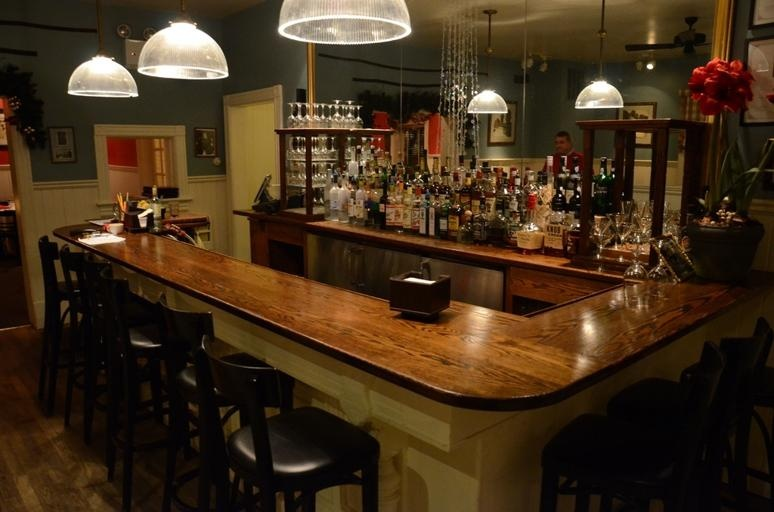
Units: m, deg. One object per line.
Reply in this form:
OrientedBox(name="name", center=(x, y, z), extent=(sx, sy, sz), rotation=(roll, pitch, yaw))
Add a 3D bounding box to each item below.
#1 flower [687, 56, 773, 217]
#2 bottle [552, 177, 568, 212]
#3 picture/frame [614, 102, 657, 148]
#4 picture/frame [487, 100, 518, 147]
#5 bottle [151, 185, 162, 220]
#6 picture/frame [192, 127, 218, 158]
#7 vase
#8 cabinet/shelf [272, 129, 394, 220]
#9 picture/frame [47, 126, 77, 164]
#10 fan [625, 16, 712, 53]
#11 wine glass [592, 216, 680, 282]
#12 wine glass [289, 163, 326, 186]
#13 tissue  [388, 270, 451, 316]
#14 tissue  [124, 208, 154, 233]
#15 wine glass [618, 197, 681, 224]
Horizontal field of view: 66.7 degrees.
OrientedBox(name="flower", center=(2.128, -0.731, 3.654), extent=(0.470, 0.944, 0.528), rotation=(4, 12, 28))
OrientedBox(name="bottle", center=(1.203, -0.432, 4.096), extent=(0.105, 0.226, 0.129), rotation=(1, 11, 14))
OrientedBox(name="picture/frame", center=(1.656, -0.859, 3.882), extent=(0.017, 0.425, 0.335), rotation=(-1, 6, -42))
OrientedBox(name="picture/frame", center=(0.941, -1.066, 4.698), extent=(0.044, 0.489, 0.325), rotation=(-3, 7, -43))
OrientedBox(name="bottle", center=(-2.084, -0.484, 5.317), extent=(0.087, 0.291, 0.280), rotation=(-6, 12, -21))
OrientedBox(name="picture/frame", center=(-2.389, -1.508, 7.699), extent=(0.045, 0.450, 0.351), rotation=(9, 14, 42))
OrientedBox(name="vase", center=(1.997, -0.033, 3.479), extent=(0.364, 0.301, 0.382), rotation=(2, 7, 28))
OrientedBox(name="cabinet/shelf", center=(-0.472, -0.775, 5.536), extent=(0.795, 0.807, 0.354), rotation=(-7, 10, -40))
OrientedBox(name="picture/frame", center=(-3.728, -1.280, 6.765), extent=(0.269, 0.428, 0.031), rotation=(-6, 0, -20))
OrientedBox(name="fan", center=(1.895, -1.486, 3.978), extent=(0.496, 0.242, 0.045), rotation=(3, 12, 22))
OrientedBox(name="wine glass", center=(1.593, -0.026, 3.676), extent=(0.353, 0.163, 0.477), rotation=(0, 32, 18))
OrientedBox(name="wine glass", center=(-0.762, -0.789, 5.880), extent=(0.392, 0.238, 0.278), rotation=(-1, -2, 15))
OrientedBox(name="tissue ", center=(0.171, 0.140, 2.994), extent=(0.230, 0.160, 0.236), rotation=(8, 14, 36))
OrientedBox(name="tissue ", center=(-2.184, -0.339, 5.262), extent=(0.225, 0.243, 0.237), rotation=(6, 11, 32))
OrientedBox(name="wine glass", center=(1.696, -0.280, 3.768), extent=(0.236, 0.273, 0.225), rotation=(-3, 6, -33))
